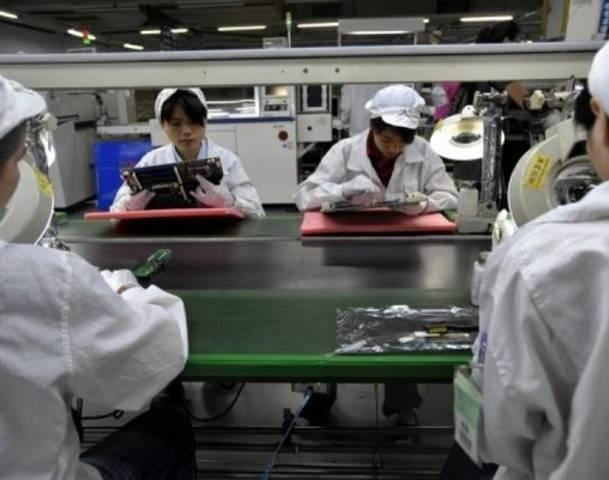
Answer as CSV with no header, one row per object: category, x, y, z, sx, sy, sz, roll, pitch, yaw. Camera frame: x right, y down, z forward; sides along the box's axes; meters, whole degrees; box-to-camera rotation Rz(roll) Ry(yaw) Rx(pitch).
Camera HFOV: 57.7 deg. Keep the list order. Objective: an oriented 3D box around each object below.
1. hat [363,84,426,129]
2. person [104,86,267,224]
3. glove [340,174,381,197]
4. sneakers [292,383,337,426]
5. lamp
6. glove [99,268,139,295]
hat,0.446,-0.627,2.600,0.267,0.209,0.294,-6,17,-12
person,-0.581,-0.259,2.756,0.747,0.989,0.541,-4,0,-5
glove,0.264,-0.253,2.607,0.116,0.047,0.152,-6,-3,-41
sneakers,0.057,0.681,2.371,0.129,0.180,0.282,2,17,14
lamp,0.647,-0.266,2.111,0.288,0.456,0.240,-1,22,3
glove,-0.491,0.113,1.486,0.070,0.030,0.095,9,17,-38
